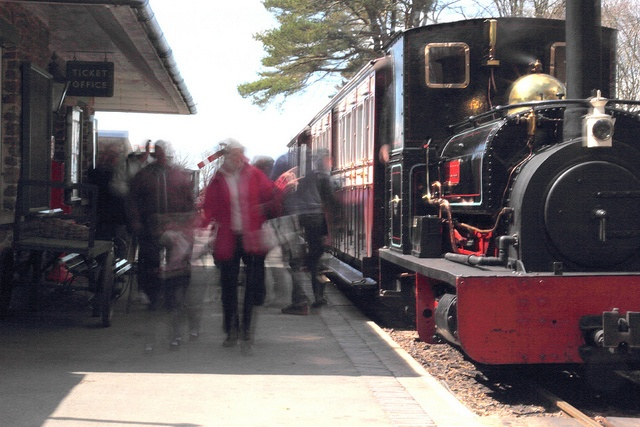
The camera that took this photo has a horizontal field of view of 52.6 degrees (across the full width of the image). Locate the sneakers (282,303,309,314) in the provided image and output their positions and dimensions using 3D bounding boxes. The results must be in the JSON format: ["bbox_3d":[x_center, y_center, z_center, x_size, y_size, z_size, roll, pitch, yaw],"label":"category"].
[{"bbox_3d":[-0.379,1.457,9.922,0.456,0.133,0.144,0,-1,22],"label":"sneakers"}]

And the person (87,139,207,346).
[{"bbox_3d":[-1.861,0.372,7.873,0.856,2.494,0.909,0,8,-28],"label":"person"}]

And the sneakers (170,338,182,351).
[{"bbox_3d":[-1.743,1.577,7.832,0.133,0.096,0.281,1,-7,-6],"label":"sneakers"}]

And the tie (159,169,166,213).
[{"bbox_3d":[-1.873,-0.258,7.699,0.115,0.514,0.134,2,7,-15],"label":"tie"}]

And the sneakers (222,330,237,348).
[{"bbox_3d":[-1.081,1.530,7.901,0.234,0.156,0.346,1,-4,-4],"label":"sneakers"}]
